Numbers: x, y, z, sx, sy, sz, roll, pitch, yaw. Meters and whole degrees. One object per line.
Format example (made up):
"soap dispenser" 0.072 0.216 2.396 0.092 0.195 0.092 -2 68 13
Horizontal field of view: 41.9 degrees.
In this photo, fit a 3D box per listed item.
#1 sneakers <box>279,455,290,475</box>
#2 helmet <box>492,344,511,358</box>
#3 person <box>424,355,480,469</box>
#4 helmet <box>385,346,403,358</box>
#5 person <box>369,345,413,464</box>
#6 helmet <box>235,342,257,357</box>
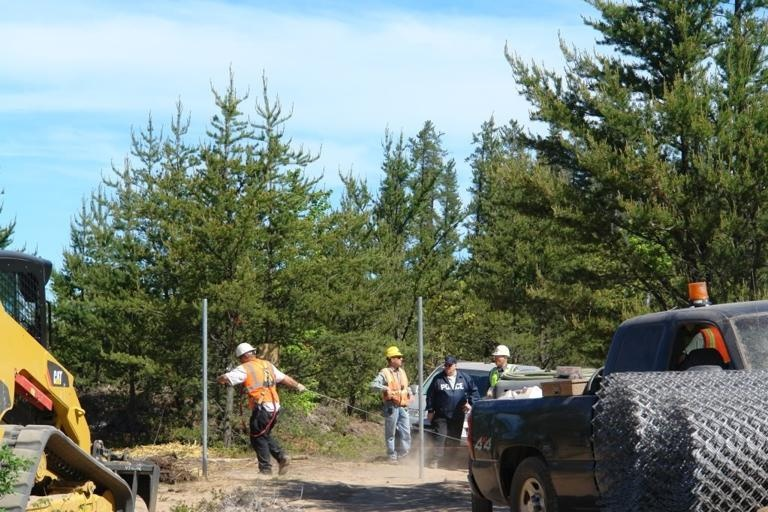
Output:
"sneakers" -1.995 4.205 20.331 0.142 0.484 0.194 11 13 -10
"helmet" 2.527 2.043 21.358 0.350 0.341 0.503 -1 -10 35
"person" 1.561 3.471 22.866 0.975 2.783 0.782 -3 23 -12
"helmet" 0.158 2.221 22.891 0.326 0.253 0.394 1 -5 -44
"person" 0.248 3.431 23.242 0.860 1.870 1.531 4 -3 2
"helmet" -2.756 1.895 20.025 0.313 0.220 0.419 6 -4 -6
